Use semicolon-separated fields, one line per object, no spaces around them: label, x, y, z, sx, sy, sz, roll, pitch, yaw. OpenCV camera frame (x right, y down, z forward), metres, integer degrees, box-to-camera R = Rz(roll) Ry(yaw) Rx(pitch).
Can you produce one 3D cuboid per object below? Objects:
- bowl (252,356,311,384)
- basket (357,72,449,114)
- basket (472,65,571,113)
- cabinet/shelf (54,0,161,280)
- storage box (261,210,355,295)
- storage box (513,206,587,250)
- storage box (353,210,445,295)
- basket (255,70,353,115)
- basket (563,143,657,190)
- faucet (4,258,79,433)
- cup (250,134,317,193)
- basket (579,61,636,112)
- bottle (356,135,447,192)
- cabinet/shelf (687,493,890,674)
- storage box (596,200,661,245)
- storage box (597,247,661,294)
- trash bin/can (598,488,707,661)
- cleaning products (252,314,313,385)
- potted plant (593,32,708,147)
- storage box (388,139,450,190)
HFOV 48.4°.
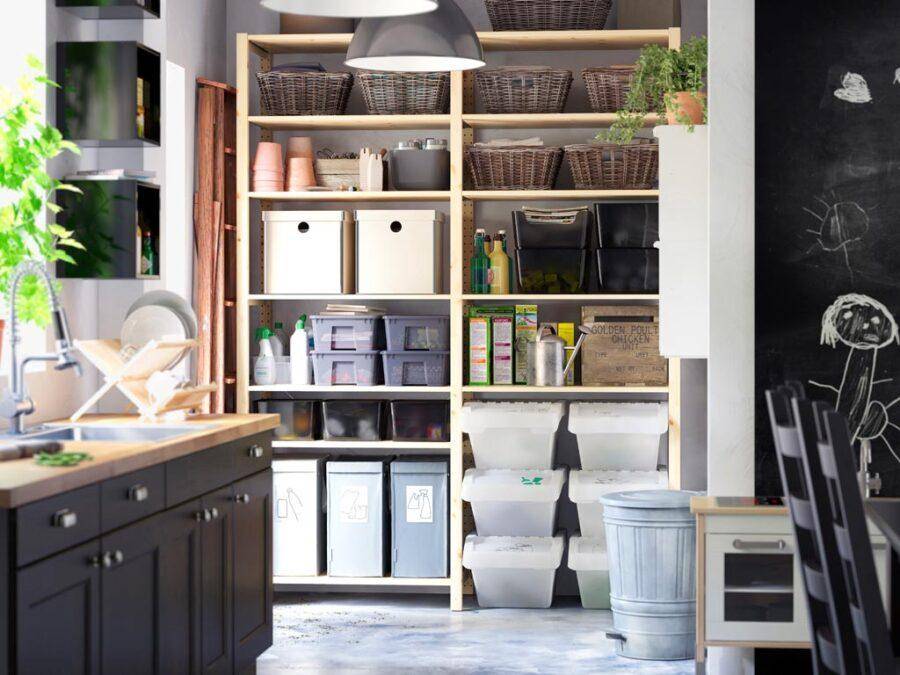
bowl;-0.873;0.160;5.128;0.150;0.090;0.210;-1;-1;30
basket;-0.228;-1.192;4.965;0.320;0.117;0.237;0;4;3
basket;0.353;-1.199;4.874;0.347;0.151;0.256;1;4;2
cabinet/shelf;-1.386;-0.813;4.061;0.397;1.144;0.357;-1;4;-5
storage box;-0.695;-0.409;5.093;0.419;0.412;0.421;0;0;5
storage box;0.491;-0.524;4.891;0.356;0.195;0.085;-1;4;-5
storage box;-0.246;-0.399;5.018;0.412;0.399;0.416;0;1;9
basket;-0.729;-1.220;5.009;0.272;0.157;0.372;0;0;3
basket;0.797;-0.829;4.860;0.340;0.147;0.250;0;3;6
faucet;-1.460;0.032;3.564;0.255;0.617;0.322;-2;5;-20
cup;-0.841;-0.866;5.075;0.353;0.263;0.209;1;0;2
basket;0.779;-1.188;4.947;0.287;0.232;0.380;0;2;4
bottle;-0.241;-0.859;5.004;0.411;0.222;0.238;0;1;8
cabinet/shelf;1.117;0.735;3.582;0.770;0.720;0.502;0;-6;7
storage box;0.941;-0.564;4.983;0.435;0.239;0.427;-1;11;11
storage box;0.849;-0.321;4.870;0.354;0.244;0.197;1;3;13
trash bin/can;0.916;1.048;4.464;0.478;0.677;0.500;2;-2;-17
cleaning products;-0.789;0.101;5.228;0.376;0.429;0.238;1;-2;2
potted plant;0.832;-0.977;4.046;0.424;0.367;0.459;-3;4;-24
storage box;-0.136;-0.861;5.098;0.305;0.251;0.231;1;8;4
